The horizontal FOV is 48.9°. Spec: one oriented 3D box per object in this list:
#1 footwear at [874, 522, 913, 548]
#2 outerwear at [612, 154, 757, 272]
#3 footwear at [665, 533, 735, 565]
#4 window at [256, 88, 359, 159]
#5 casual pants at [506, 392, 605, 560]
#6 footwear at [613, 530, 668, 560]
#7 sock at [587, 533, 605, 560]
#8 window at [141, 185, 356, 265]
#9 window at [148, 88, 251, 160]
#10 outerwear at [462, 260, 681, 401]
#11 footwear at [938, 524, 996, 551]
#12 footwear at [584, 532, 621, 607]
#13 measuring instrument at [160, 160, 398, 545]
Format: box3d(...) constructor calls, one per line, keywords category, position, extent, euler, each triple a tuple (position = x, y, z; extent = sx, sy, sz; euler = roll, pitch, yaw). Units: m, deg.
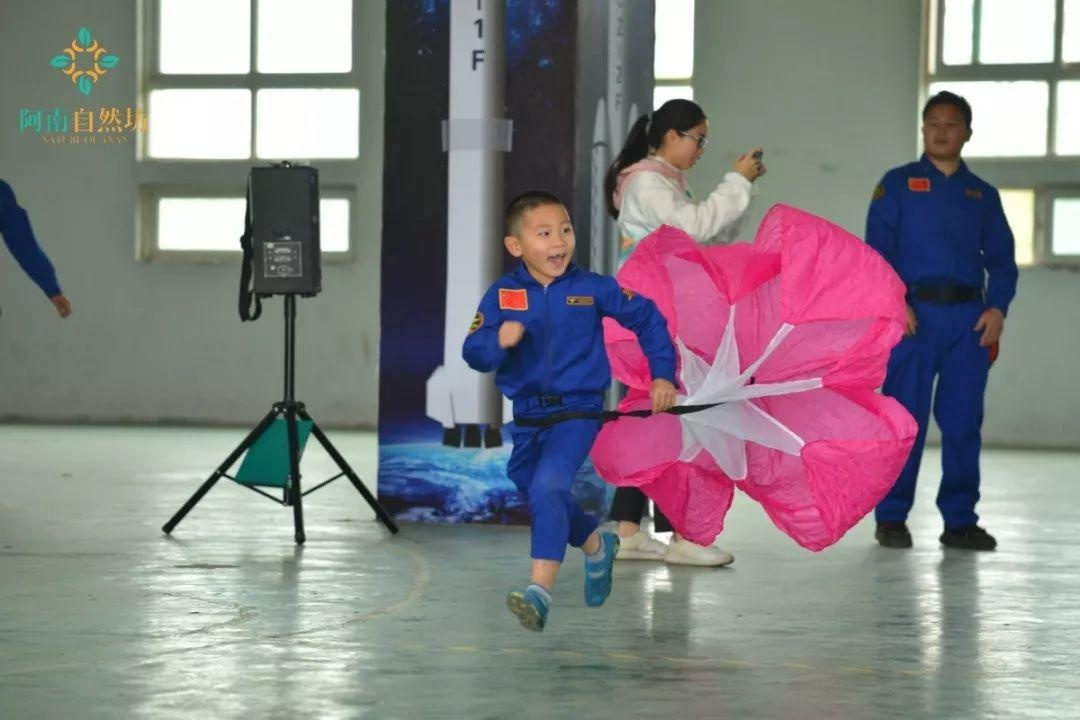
box3d(category="footwear", position=(1.620, 0.799, 5.470), extent=(0.156, 0.098, 0.186), euler=(1, 7, 7))
box3d(category="outerwear", position=(0.645, -0.692, 5.176), extent=(0.545, 0.526, 0.412), euler=(2, 8, 16))
box3d(category="footwear", position=(0.707, 0.816, 5.150), extent=(0.315, 0.191, 0.118), euler=(-3, -1, 10))
box3d(category="window", position=(-2.032, -2.140, 10.503), extent=(0.844, 0.530, 0.083), euler=(-1, 6, 6))
box3d(category="casual pants", position=(0.049, 0.414, 4.324), extent=(0.347, 0.567, 0.383), euler=(0, 8, -1))
box3d(category="footwear", position=(0.430, 0.814, 5.182), extent=(0.221, 0.078, 0.110), euler=(-1, -3, 7))
box3d(category="sock", position=(0.195, 0.693, 4.413), extent=(0.067, 0.098, 0.104), euler=(0, 6, 7))
box3d(category="window", position=(-3.020, -1.210, 11.003), extent=(1.808, 0.830, 0.388), euler=(1, -5, 1))
box3d(category="window", position=(-3.006, -2.152, 10.573), extent=(0.732, 0.440, 0.096), euler=(0, 5, 4))
box3d(category="outerwear", position=(0.083, -0.107, 4.505), extent=(1.002, 0.603, 0.464), euler=(0, 1, 0))
box3d(category="footwear", position=(1.951, 0.814, 5.470), extent=(0.217, 0.089, 0.112), euler=(-1, -1, 24))
box3d(category="footwear", position=(0.194, 0.781, 4.509), extent=(0.110, 0.297, 0.147), euler=(7, 4, 29))
box3d(category="measuring instrument", position=(-1.268, -0.065, 5.796), extent=(0.990, 1.791, 1.216), euler=(-2, 8, -13))
